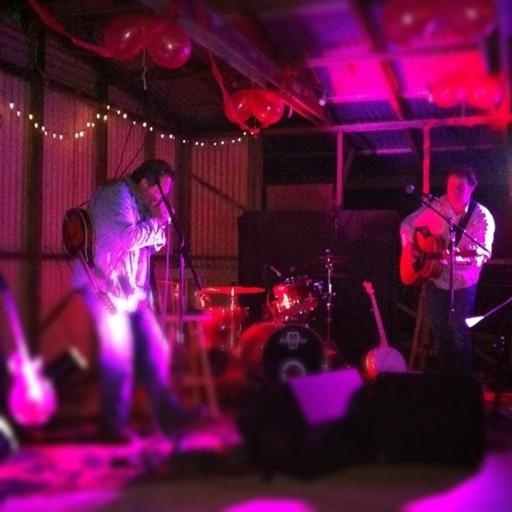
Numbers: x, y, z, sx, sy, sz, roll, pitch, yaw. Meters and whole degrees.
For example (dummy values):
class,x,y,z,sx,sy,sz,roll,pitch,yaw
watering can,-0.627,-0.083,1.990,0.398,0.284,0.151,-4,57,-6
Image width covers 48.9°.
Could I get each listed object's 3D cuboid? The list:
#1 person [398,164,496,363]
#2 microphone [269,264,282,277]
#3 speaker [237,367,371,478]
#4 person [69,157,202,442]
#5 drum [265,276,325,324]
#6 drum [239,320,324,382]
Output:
class,x,y,z,sx,sy,sz,roll,pitch,yaw
person,1.497,0.113,4.530,0.569,1.616,0.718,0,-1,-36
microphone,0.218,0.178,6.368,0.146,0.034,0.147,49,-6,31
speaker,0.253,0.881,2.975,0.707,0.527,0.243,0,0,-1
person,-0.773,0.262,3.438,0.672,1.725,0.392,0,-1,-41
drum,0.350,0.430,5.637,0.534,0.432,0.515,0,0,10
drum,0.248,0.846,5.284,0.542,0.678,0.625,-9,4,-10
